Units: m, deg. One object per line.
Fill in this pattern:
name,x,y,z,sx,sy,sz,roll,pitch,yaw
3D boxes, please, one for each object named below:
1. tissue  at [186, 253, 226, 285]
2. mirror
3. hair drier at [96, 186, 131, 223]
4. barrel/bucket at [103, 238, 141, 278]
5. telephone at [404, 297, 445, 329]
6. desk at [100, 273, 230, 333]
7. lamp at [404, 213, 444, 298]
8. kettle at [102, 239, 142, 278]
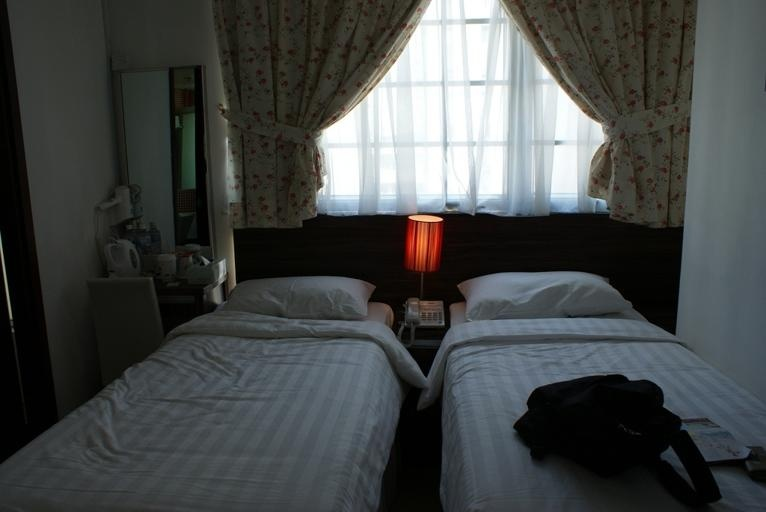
tissue ,-1.171,0.053,3.574,0.140,0.088,0.275,2,6,2
mirror,-1.512,-0.665,3.765,0.599,1.204,0.247,-2,14,5
hair drier,-1.780,-0.350,3.671,0.169,0.247,0.234,6,7,41
barrel/bucket,-1.718,0.024,3.594,0.204,0.248,0.223,-3,13,1
telephone,0.270,0.360,3.578,0.248,0.167,0.305,-2,13,1
desk,-1.482,0.277,3.506,0.476,0.300,0.470,0,13,-2
lamp,0.289,0.015,3.722,0.263,0.577,0.302,-1,14,8
kettle,-1.717,0.022,3.582,0.162,0.274,0.278,-1,8,10
